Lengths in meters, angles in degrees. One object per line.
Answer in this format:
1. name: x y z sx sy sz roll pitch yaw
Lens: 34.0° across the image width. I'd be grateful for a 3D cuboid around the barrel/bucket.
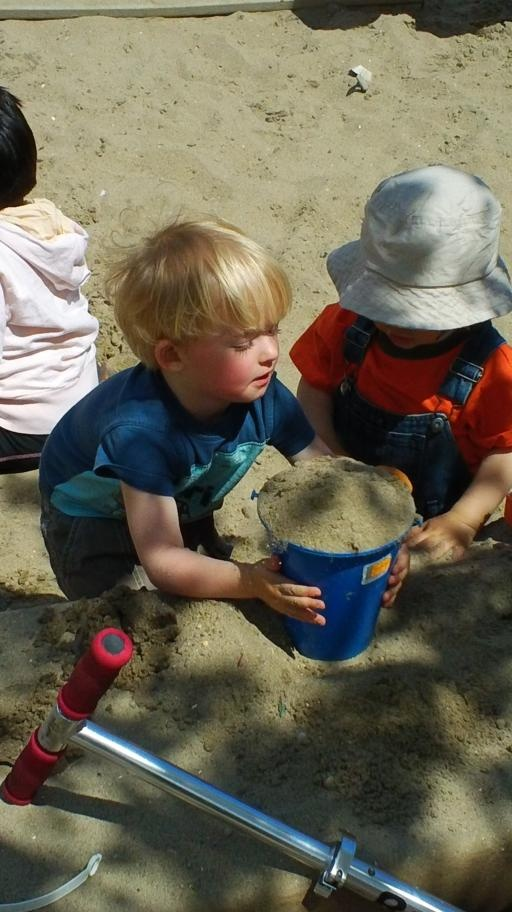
1. barrel/bucket: 0.127 0.243 2.101 0.446 0.501 0.445 -1 27 1
